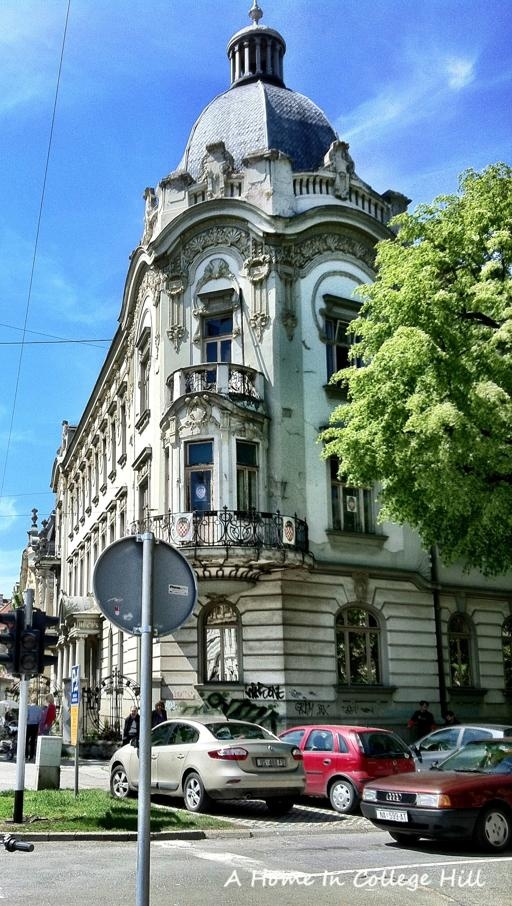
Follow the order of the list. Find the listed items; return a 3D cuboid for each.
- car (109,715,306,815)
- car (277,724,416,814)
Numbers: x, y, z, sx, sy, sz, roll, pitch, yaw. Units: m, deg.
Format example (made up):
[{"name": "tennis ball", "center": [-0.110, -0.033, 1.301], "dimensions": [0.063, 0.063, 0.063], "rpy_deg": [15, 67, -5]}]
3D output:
[{"name": "car", "center": [-0.491, 4.271, 12.874], "dimensions": [1.246, 1.189, 1.966], "rpy_deg": [10, -19, -44]}, {"name": "car", "center": [1.360, 4.641, 13.952], "dimensions": [1.137, 0.911, 1.948], "rpy_deg": [10, -16, -34]}]
